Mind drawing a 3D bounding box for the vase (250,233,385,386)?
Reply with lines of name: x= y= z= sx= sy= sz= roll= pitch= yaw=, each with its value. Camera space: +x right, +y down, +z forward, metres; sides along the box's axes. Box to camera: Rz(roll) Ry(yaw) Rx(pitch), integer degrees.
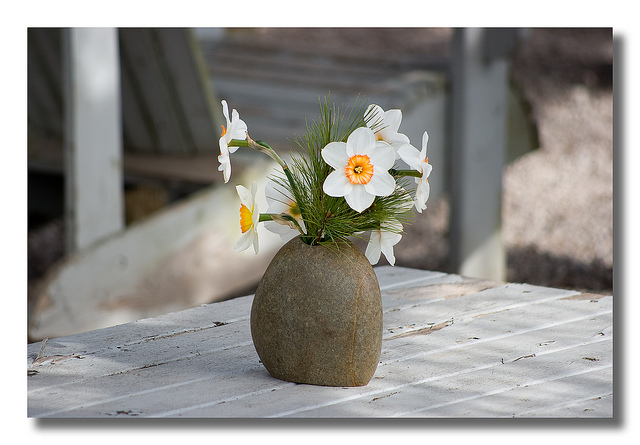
vase: x=-0.016 y=0.327 z=3.424 sx=0.526 sy=0.581 sz=0.402 roll=5 pitch=2 yaw=19
